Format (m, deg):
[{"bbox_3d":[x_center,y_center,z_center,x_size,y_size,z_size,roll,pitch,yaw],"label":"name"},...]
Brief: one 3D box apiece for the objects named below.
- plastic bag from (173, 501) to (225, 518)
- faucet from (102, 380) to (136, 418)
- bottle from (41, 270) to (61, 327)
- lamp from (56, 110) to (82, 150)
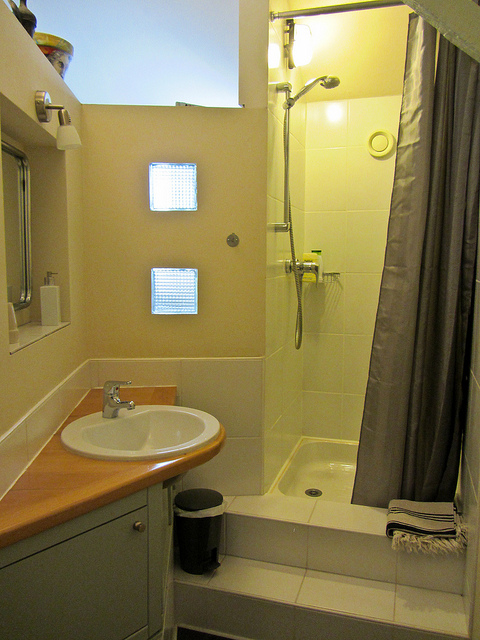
[{"bbox_3d":[-0.160,0.734,1.972,0.191,0.041,0.080,-1,6,-4],"label":"plastic bag"},{"bbox_3d":[-0.399,0.255,1.672,0.091,0.134,0.176,-2,6,-17],"label":"faucet"},{"bbox_3d":[-0.674,-0.075,1.819,0.061,0.182,0.065,-1,4,0],"label":"bottle"},{"bbox_3d":[-0.518,-0.574,1.533,0.062,0.135,0.064,-11,3,-7],"label":"lamp"}]
